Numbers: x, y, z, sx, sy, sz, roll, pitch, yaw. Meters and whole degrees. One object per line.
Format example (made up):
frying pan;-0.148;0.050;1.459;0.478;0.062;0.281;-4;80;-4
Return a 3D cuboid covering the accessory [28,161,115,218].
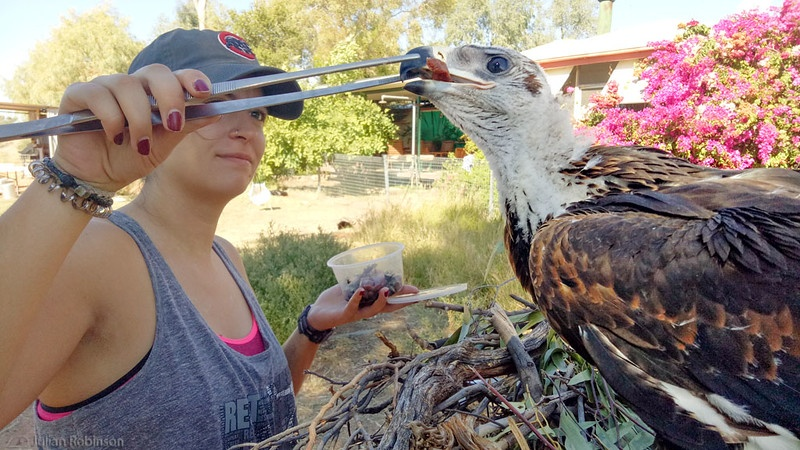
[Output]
accessory;-1.456;-0.178;2.771;0.296;0.094;0.226;30;4;-13

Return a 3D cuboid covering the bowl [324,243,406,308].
bowl;-0.216;0.304;3.824;0.396;0.198;0.395;-11;11;2

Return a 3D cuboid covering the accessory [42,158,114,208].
accessory;-1.414;-0.172;2.738;0.206;0.082;0.245;35;12;-11

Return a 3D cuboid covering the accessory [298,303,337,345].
accessory;-0.548;0.652;3.956;0.193;0.147;0.260;2;58;-7
